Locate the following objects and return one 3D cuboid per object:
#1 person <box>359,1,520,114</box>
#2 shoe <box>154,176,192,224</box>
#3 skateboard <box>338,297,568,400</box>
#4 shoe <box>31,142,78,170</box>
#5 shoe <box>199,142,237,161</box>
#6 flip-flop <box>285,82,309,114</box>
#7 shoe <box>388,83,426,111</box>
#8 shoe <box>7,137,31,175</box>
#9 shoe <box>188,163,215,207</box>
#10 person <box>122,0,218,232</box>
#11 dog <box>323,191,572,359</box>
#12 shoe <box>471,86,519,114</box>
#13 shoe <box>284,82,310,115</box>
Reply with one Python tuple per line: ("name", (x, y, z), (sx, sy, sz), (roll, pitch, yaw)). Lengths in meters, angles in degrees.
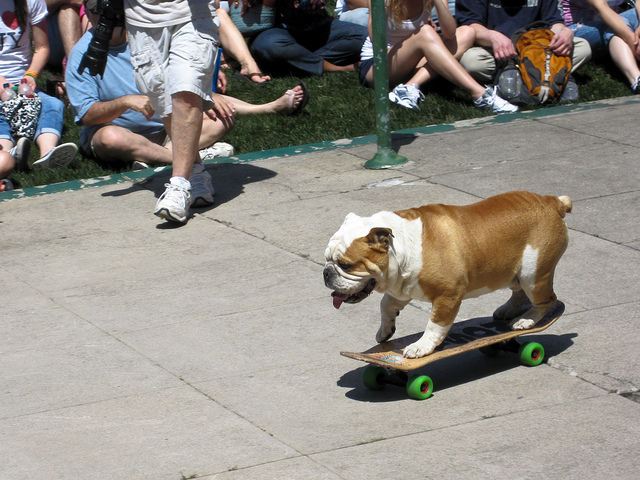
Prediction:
("person", (1.226, -1.946, 8.432), (1.423, 1.122, 1.639), (-2, 15, -8))
("shoe", (-1.068, -0.277, 5.727), (0.229, 0.331, 0.346), (0, 17, -1))
("skateboard", (0.886, 0.513, 3.928), (1.481, 0.228, 0.398), (-9, 15, -21))
("shoe", (-2.351, -0.722, 6.926), (0.463, 0.253, 0.276), (0, 16, -1))
("shoe", (-0.953, -0.808, 7.266), (0.343, 0.078, 0.203), (-6, 7, -24))
("flip-flop", (-0.241, -1.435, 8.075), (0.170, 0.318, 0.097), (19, 44, 21))
("shoe", (0.876, -1.477, 8.246), (0.295, 0.238, 0.297), (2, 16, 2))
("shoe", (-2.640, -0.723, 6.908), (0.166, 0.402, 0.162), (-19, 69, -31))
("shoe", (-0.913, -0.416, 6.103), (0.187, 0.308, 0.403), (-2, 16, -7))
("person", (-1.051, -0.926, 5.806), (0.680, 1.616, 0.805), (-3, 20, -11))
("dog", (0.572, 0.148, 3.914), (1.801, 0.617, 0.648), (-9, 15, -39))
("shoe", (1.757, -1.403, 8.061), (0.621, 0.159, 0.247), (13, -15, 26))
("shoe", (-0.228, -1.431, 8.127), (0.174, 0.369, 0.118), (35, 53, 27))
